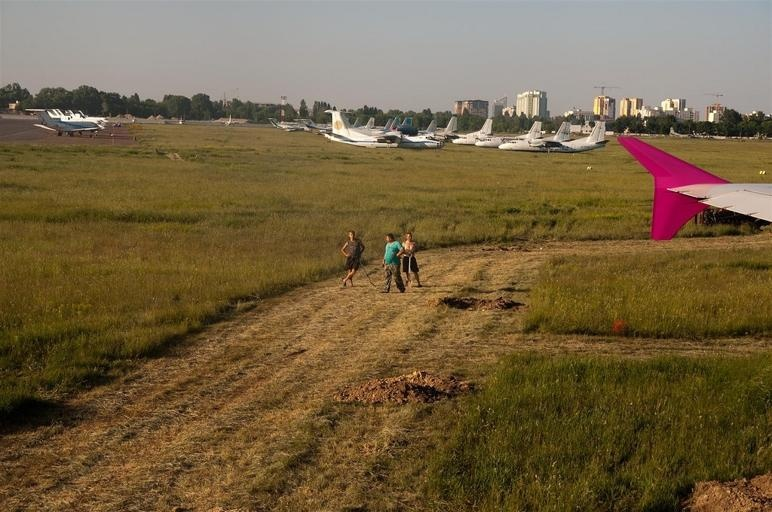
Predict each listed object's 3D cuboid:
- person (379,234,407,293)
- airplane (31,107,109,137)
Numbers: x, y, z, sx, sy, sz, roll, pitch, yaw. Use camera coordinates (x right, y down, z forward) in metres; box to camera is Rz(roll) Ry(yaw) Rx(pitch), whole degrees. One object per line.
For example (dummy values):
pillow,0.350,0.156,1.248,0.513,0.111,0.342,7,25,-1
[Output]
person,0.312,0.217,31.239,0.749,1.950,1.398,1,13,1
airplane,-39.306,-16.623,110.459,6.187,3.472,9.982,0,14,-7
